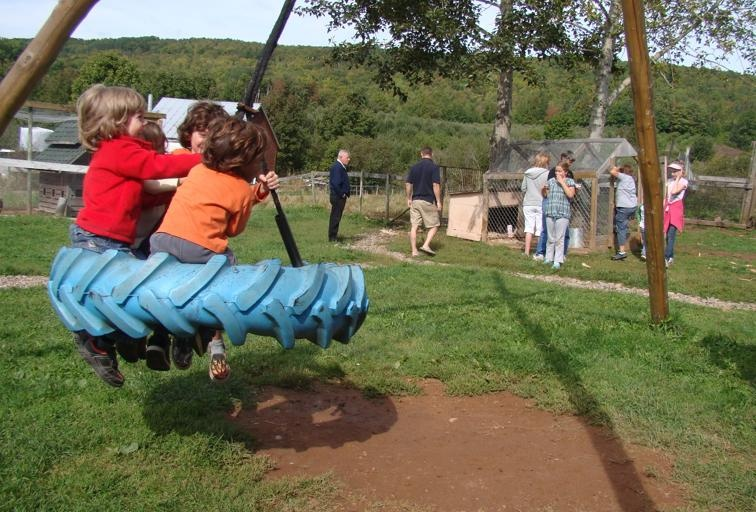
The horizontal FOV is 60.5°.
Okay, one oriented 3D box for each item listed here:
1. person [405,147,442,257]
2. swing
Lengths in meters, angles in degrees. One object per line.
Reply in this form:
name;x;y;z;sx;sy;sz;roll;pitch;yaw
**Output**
person;0.922;-1.068;13.591;0.800;2.239;0.748;5;23;5
swing;-1.308;-0.050;5.719;1.711;3.700;2.269;8;16;1
